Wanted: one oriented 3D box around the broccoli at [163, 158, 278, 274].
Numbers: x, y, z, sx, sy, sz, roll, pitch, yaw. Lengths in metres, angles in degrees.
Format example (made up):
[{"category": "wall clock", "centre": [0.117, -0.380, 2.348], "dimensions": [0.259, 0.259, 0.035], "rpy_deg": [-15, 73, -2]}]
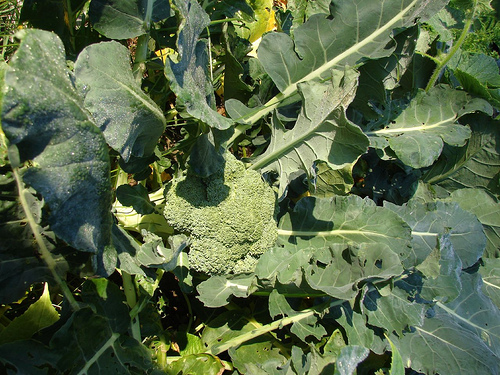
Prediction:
[{"category": "broccoli", "centre": [-0.087, 0.084, 1.395], "dimensions": [0.405, 0.141, 0.459], "rpy_deg": [14, 54, -2]}]
